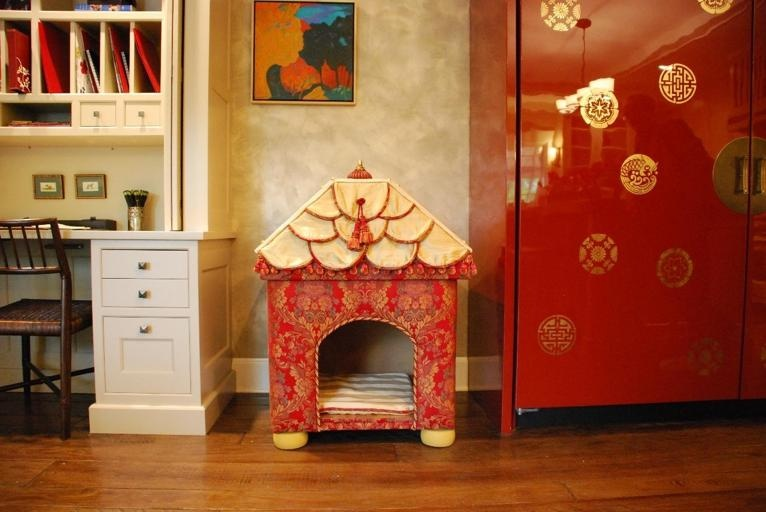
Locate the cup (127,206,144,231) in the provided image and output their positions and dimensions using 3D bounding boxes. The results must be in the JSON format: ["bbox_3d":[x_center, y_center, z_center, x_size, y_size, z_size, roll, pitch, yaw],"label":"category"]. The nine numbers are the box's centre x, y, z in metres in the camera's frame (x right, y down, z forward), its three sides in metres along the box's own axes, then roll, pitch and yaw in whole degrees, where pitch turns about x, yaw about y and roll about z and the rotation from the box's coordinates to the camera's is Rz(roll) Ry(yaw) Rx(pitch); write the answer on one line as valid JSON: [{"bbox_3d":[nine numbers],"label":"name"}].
[{"bbox_3d":[-1.651,-0.259,4.844,0.136,0.231,0.143,1,4,0],"label":"cup"}]

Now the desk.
[{"bbox_3d":[-1.407,0.449,4.945,1.091,1.779,1.164,0,4,2],"label":"desk"}]

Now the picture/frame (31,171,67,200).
[{"bbox_3d":[-2.294,-0.488,5.015,0.183,0.165,0.026,1,1,-4],"label":"picture/frame"}]

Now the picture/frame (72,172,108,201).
[{"bbox_3d":[-2.016,-0.487,5.023,0.182,0.162,0.018,1,1,-4],"label":"picture/frame"}]
